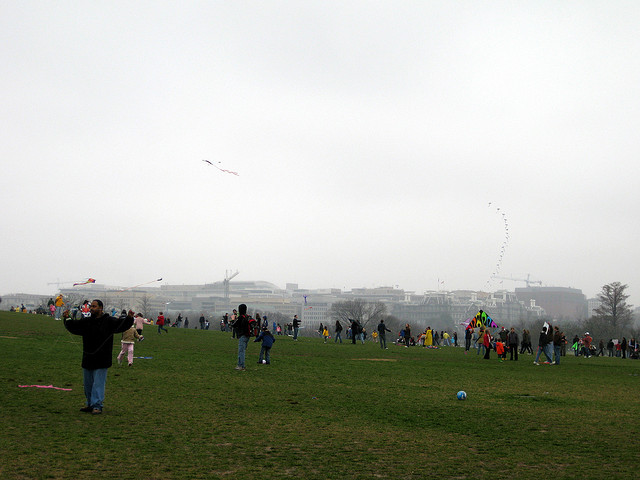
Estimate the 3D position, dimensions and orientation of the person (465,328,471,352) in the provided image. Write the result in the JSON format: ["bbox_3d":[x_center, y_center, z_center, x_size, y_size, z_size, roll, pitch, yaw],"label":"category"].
[{"bbox_3d":[8.879,5.981,44.130,0.252,1.373,1.103,-1,-10,15],"label":"person"}]

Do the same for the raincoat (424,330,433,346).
[{"bbox_3d":[7.133,6.435,48.312,0.378,0.951,1.458,0,-10,6],"label":"raincoat"}]

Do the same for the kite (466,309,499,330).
[{"bbox_3d":[8.494,4.081,38.349,1.090,0.893,2.899,-1,-10,13],"label":"kite"}]

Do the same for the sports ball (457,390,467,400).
[{"bbox_3d":[4.093,4.506,21.234,0.208,0.251,0.224,-2,-6,0],"label":"sports ball"}]

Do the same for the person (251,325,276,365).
[{"bbox_3d":[-2.127,3.993,27.744,0.700,1.480,0.632,17,-26,-29],"label":"person"}]

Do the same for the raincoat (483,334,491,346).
[{"bbox_3d":[8.085,4.869,35.679,0.332,0.652,0.460,-8,12,-35],"label":"raincoat"}]

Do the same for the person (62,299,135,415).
[{"bbox_3d":[-5.421,2.849,17.774,1.441,2.719,0.680,4,-10,-18],"label":"person"}]

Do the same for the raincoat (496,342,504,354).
[{"bbox_3d":[8.775,5.277,35.726,0.298,0.543,0.517,-1,-10,13],"label":"raincoat"}]

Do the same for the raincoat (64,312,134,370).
[{"bbox_3d":[-5.478,2.485,17.862,1.529,1.458,0.534,-3,-20,-4],"label":"raincoat"}]
